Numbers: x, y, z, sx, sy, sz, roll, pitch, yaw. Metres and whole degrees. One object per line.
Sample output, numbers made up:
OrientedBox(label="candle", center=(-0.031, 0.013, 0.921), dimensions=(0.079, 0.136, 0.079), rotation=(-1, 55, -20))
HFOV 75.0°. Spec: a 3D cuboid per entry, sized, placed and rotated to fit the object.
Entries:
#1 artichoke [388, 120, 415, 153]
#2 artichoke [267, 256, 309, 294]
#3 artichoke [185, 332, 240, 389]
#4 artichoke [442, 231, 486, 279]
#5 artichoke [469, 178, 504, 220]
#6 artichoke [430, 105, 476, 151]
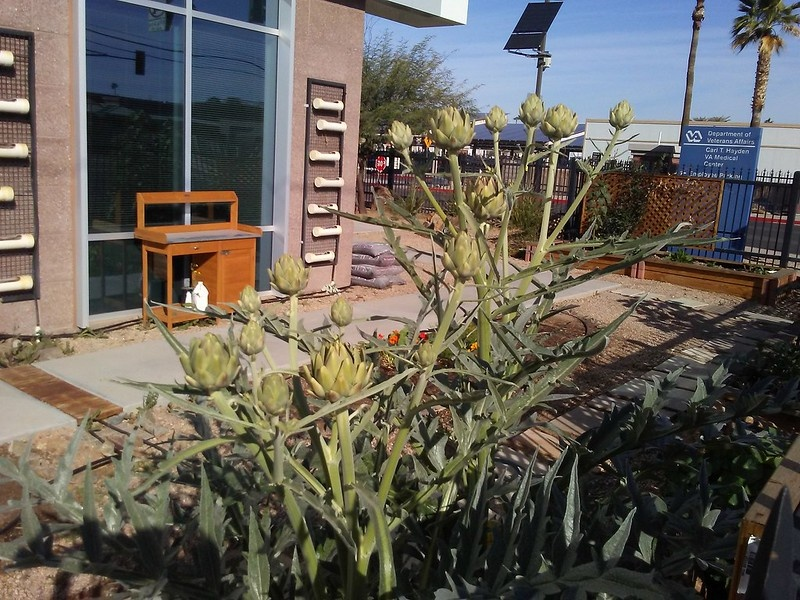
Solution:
OrientedBox(label="artichoke", center=(-0.002, -0.403, 1.290), dimensions=(0.049, 0.088, 0.053), rotation=(-1, -16, 6))
OrientedBox(label="artichoke", center=(-0.229, -0.039, 1.056), dimensions=(0.075, 0.095, 0.080), rotation=(5, 16, 14))
OrientedBox(label="artichoke", center=(-0.294, 0.094, 0.815), dimensions=(0.078, 0.097, 0.117), rotation=(1, 11, -9))
OrientedBox(label="artichoke", center=(0.101, -0.087, 0.942), dimensions=(0.074, 0.104, 0.080), rotation=(0, 14, -9))
OrientedBox(label="artichoke", center=(0.173, -0.203, 1.044), dimensions=(0.080, 0.098, 0.079), rotation=(-1, 19, 5))
OrientedBox(label="artichoke", center=(0.107, -0.352, 1.113), dimensions=(0.090, 0.104, 0.090), rotation=(-1, 43, -1))
